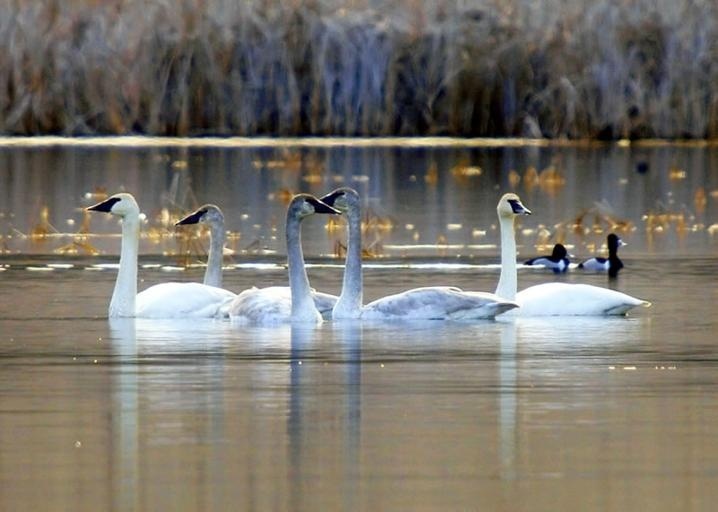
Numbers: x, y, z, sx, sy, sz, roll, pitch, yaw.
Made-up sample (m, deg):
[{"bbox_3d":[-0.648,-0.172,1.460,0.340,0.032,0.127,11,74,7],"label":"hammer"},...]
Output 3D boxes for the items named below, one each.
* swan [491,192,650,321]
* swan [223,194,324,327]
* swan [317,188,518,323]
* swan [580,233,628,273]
[{"bbox_3d":[3.642,0.294,20.576,3.274,2.119,1.238,1,-3,1],"label":"swan"},{"bbox_3d":[-1.038,0.151,19.329,1.390,1.931,1.526,26,24,22],"label":"swan"},{"bbox_3d":[0.867,0.086,19.533,3.050,2.061,1.086,-2,3,13],"label":"swan"},{"bbox_3d":[4.661,-0.025,25.330,1.186,0.792,0.395,-2,8,20],"label":"swan"}]
